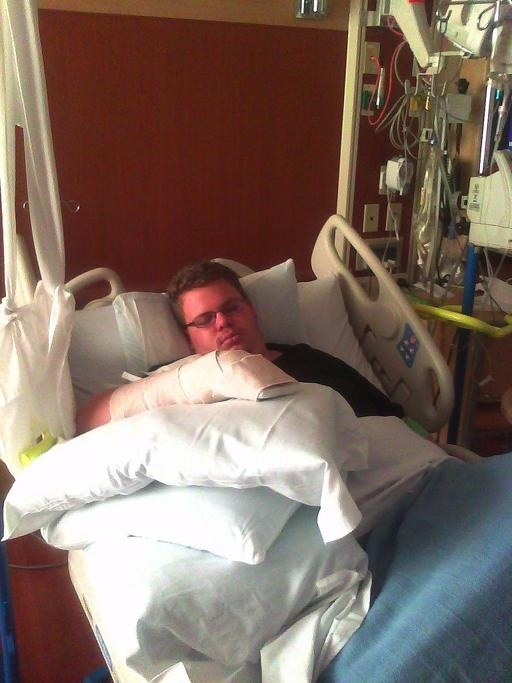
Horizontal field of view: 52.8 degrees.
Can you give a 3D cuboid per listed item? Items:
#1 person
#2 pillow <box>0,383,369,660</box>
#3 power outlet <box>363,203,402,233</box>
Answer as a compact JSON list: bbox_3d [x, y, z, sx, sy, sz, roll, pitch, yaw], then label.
[{"bbox_3d":[-0.024,0.062,1.401,0.532,0.279,0.837,-35,37,-25],"label":"person"},{"bbox_3d":[-0.122,0.307,0.985,0.486,0.154,0.484,14,40,21],"label":"pillow"},{"bbox_3d":[0.667,-0.622,2.651,0.232,0.157,0.123,-13,24,-28],"label":"power outlet"}]
